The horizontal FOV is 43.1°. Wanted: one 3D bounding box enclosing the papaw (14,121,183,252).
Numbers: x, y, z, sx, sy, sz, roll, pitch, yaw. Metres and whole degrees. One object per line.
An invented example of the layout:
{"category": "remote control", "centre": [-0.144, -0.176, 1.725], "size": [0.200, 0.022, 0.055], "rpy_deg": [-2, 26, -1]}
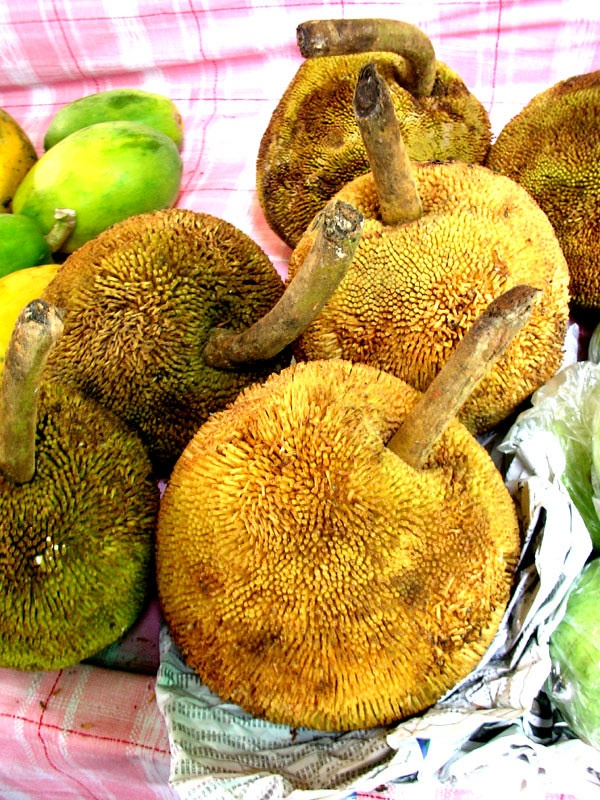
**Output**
{"category": "papaw", "centre": [-0.243, -0.281, 0.957], "size": [0.211, 0.118, 0.134], "rpy_deg": [-13, 22, -9]}

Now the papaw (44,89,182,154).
{"category": "papaw", "centre": [-0.251, -0.399, 1.055], "size": [0.182, 0.096, 0.106], "rpy_deg": [-9, 2, -17]}

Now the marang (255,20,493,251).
{"category": "marang", "centre": [0.071, -0.246, 0.792], "size": [0.204, 0.216, 0.091], "rpy_deg": [-10, 13, 7]}

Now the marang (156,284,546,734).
{"category": "marang", "centre": [0.024, 0.075, 0.509], "size": [0.269, 0.233, 0.239], "rpy_deg": [-2, 56, 0]}
